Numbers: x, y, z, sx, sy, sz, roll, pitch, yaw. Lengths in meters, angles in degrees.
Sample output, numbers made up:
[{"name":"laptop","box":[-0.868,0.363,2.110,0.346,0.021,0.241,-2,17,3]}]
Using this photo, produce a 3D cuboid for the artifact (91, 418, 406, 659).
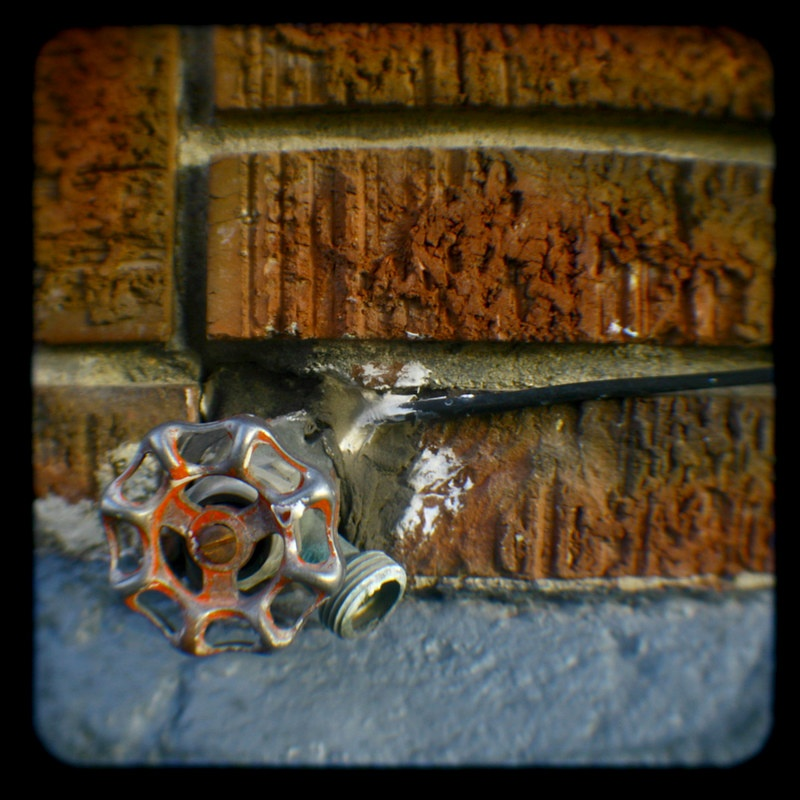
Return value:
[{"name":"artifact","box":[-0.094,0.099,0.739,0.165,0.061,0.131,0,55,-8]}]
